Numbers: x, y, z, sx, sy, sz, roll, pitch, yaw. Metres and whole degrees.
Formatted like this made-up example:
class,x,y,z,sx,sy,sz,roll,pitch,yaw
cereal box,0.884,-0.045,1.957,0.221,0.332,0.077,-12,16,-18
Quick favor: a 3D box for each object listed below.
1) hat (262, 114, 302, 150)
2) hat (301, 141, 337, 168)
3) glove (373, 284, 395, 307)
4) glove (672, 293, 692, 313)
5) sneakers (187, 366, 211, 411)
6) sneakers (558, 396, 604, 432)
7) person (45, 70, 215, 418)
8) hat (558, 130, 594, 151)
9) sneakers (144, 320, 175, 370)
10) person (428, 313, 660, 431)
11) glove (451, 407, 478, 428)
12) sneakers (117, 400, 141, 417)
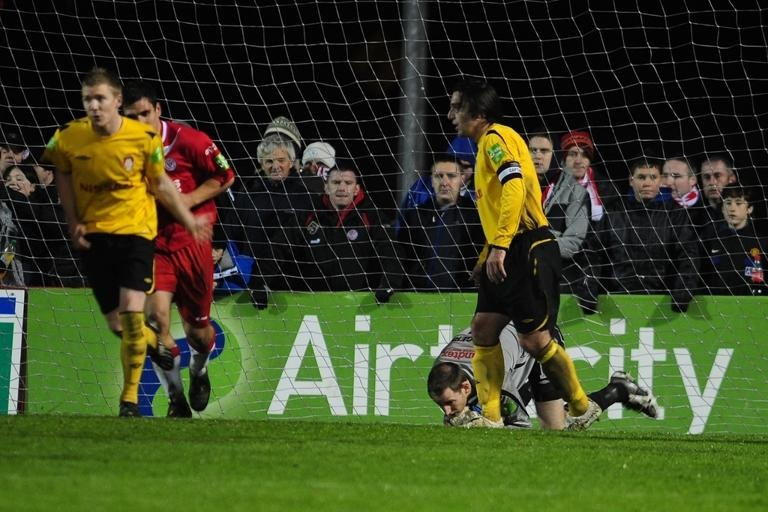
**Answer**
class,x,y,z,sx,sy,sz,roll,pitch,yaw
hat,-0.952,-1.233,10.378,0.274,0.236,0.401,14,-26,8
hat,-0.656,-1.019,10.575,0.331,0.281,0.250,2,-15,2
glove,-0.005,0.339,9.300,0.128,0.053,0.167,-42,-60,19
glove,2.609,0.405,9.143,0.174,0.172,0.064,4,-3,2
sneakers,-1.625,1.143,9.163,0.143,0.389,0.156,-5,11,-12
sneakers,1.631,1.344,8.655,0.394,0.178,0.165,-38,9,-36
person,-2.177,-0.082,8.553,1.121,2.856,0.341,-1,8,-16
hat,1.836,-1.102,9.906,0.195,0.148,0.253,-4,0,9
sneakers,-1.893,0.799,8.825,0.167,0.487,0.216,-15,-30,-3
person,1.371,1.027,9.148,1.913,0.982,0.889,0,-15,-4
glove,0.647,1.317,8.459,0.182,0.100,0.136,-30,2,22
sneakers,-2.146,1.280,8.767,0.178,0.177,0.127,-4,-7,26
